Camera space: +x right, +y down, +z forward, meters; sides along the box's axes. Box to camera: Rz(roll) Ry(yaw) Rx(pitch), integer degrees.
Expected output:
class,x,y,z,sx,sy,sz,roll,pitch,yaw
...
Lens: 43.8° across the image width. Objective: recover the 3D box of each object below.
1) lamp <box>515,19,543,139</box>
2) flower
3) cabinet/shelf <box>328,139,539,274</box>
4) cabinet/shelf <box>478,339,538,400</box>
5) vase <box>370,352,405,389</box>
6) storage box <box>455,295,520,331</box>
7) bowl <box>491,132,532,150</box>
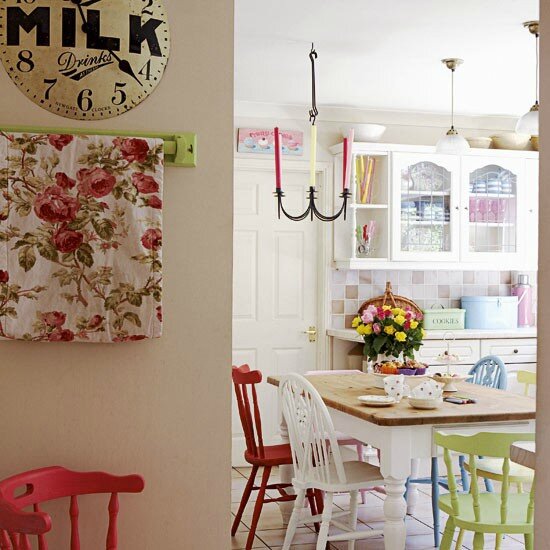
class,x,y,z,sx,sy,sz,roll,pitch,yaw
lamp,1.173,-0.886,3.079,0.154,0.467,0.161,-3,15,1
flower,0.612,0.311,3.627,0.349,0.412,0.385,0,0,-29
cabinet/shelf,1.265,-0.448,4.851,1.508,0.905,0.258,3,0,9
cabinet/shelf,1.674,0.643,4.631,0.230,0.412,0.407,6,-10,-35
vase,0.577,0.478,3.463,0.186,0.144,0.195,0,0,3
storage box,1.525,0.239,4.856,0.268,0.175,0.271,1,-1,-22
bowl,1.697,-0.968,4.948,0.171,0.071,0.168,-1,-2,0
